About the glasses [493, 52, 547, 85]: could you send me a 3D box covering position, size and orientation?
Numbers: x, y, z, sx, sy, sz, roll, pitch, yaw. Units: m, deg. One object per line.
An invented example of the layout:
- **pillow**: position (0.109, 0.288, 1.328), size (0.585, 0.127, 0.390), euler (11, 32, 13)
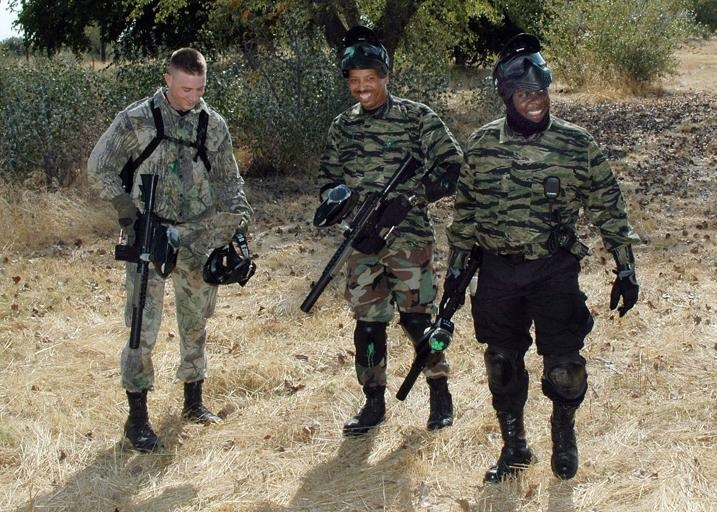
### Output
- **glasses**: position (1.251, -1.413, 5.295), size (0.235, 0.167, 0.340), euler (-18, 12, -13)

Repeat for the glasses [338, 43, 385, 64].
- **glasses**: position (0.037, -1.671, 5.772), size (0.204, 0.124, 0.283), euler (0, 3, 1)

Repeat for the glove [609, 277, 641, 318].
- **glove**: position (2.096, 0.321, 5.529), size (0.185, 0.420, 0.481), euler (3, 13, 20)

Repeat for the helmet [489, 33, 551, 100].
- **helmet**: position (1.251, -1.493, 5.482), size (0.451, 0.325, 0.660), euler (-23, 23, -10)

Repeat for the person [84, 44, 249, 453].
- **person**: position (-1.587, -0.049, 6.021), size (1.250, 3.355, 0.576), euler (-6, 13, -22)

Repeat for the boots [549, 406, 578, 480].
- **boots**: position (1.616, 1.433, 5.488), size (0.211, 0.473, 0.535), euler (-1, 21, 14)

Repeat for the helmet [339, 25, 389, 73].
- **helmet**: position (0.038, -1.730, 5.800), size (0.307, 0.292, 0.454), euler (-7, -31, 10)

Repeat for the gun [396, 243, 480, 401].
- **gun**: position (0.702, 0.627, 6.244), size (0.242, 1.412, 0.507), euler (31, 3, 23)
